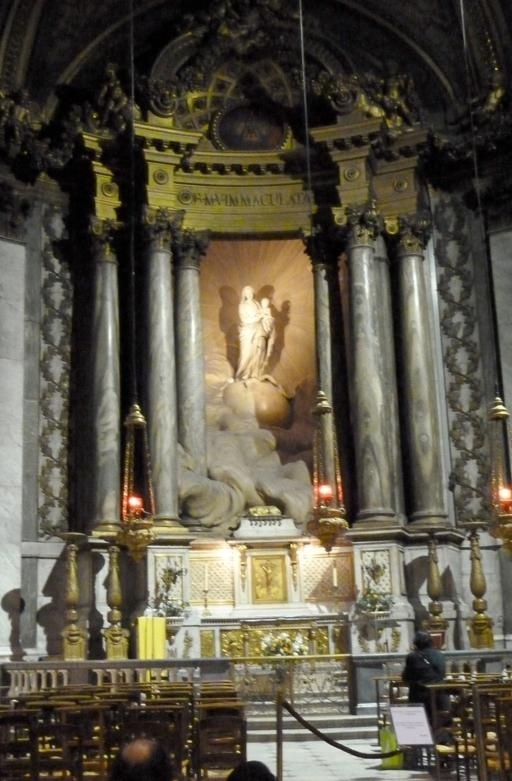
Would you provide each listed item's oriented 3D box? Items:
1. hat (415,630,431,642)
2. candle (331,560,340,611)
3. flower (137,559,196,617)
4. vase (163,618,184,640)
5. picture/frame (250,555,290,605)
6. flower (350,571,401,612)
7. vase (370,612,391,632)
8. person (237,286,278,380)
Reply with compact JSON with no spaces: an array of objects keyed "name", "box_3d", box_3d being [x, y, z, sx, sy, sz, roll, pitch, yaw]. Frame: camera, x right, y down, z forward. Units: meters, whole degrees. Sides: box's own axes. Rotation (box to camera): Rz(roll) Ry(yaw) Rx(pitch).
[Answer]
[{"name":"hat","box_3d":[1.604,2.368,12.371,0.131,0.110,0.093,-16,24,-15]},{"name":"candle","box_3d":[1.143,2.742,18.558,0.101,0.665,0.278,-4,-12,2]},{"name":"flower","box_3d":[-1.036,2.723,17.986,0.588,0.917,0.561,-7,-8,36]},{"name":"vase","box_3d":[-1.119,3.192,17.360,0.307,0.284,0.301,0,-7,-12]},{"name":"picture/frame","box_3d":[0.192,2.786,18.779,0.848,0.944,0.111,0,-15,0]},{"name":"flower","box_3d":[1.597,2.735,17.427,0.525,0.538,0.558,-4,-12,5]},{"name":"vase","box_3d":[1.641,3.124,17.170,0.331,0.335,0.258,-4,-12,3]},{"name":"person","box_3d":[-0.037,-0.886,21.096,0.667,1.633,0.357,-3,-13,-2]}]
